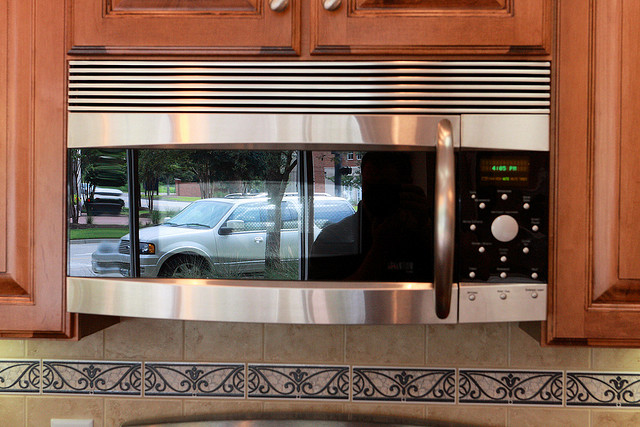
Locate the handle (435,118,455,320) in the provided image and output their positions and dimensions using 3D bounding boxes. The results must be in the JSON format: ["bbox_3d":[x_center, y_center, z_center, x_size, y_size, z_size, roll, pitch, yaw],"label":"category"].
[{"bbox_3d":[0.297,0.014,2.392,0.047,0.491,0.064,0,2,6],"label":"handle"}]

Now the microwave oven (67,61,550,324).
[{"bbox_3d":[-0.038,-0.067,2.678,1.250,0.672,0.663,1,8,2],"label":"microwave oven"}]
